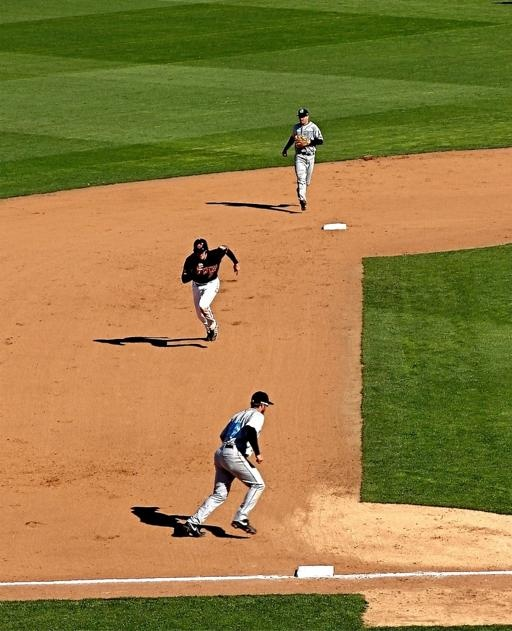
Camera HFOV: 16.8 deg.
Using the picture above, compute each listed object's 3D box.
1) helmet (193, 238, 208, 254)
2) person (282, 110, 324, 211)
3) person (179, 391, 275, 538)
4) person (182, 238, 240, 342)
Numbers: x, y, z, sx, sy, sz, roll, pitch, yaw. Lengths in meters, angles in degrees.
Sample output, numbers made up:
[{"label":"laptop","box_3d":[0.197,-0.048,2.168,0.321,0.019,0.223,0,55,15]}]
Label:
[{"label":"helmet","box_3d":[-0.943,-1.152,28.822,0.205,0.263,0.294,-4,24,-3]},{"label":"person","box_3d":[0.935,-3.043,34.921,0.749,2.456,0.711,2,29,0]},{"label":"person","box_3d":[-0.437,2.347,26.012,1.320,2.640,0.972,-1,26,-37]},{"label":"person","box_3d":[-0.835,-0.324,29.495,0.688,2.432,1.034,18,33,26]}]
